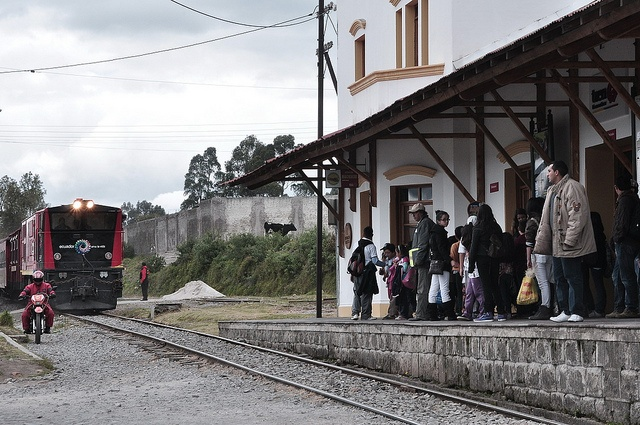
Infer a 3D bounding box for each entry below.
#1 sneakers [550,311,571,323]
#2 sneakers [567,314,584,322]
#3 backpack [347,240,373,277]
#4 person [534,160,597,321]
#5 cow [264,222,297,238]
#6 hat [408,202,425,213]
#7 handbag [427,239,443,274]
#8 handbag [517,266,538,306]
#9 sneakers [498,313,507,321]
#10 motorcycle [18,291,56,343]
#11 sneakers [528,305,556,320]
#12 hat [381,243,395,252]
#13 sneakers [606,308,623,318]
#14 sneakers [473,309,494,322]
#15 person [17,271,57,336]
[{"bbox_3d":[3.904,1.708,11.483,0.317,0.153,0.120,0,-4,-10],"label":"sneakers"},{"bbox_3d":[4.050,1.665,11.186,0.215,0.111,0.208,-4,-9,19],"label":"sneakers"},{"bbox_3d":[0.921,1.101,17.055,0.427,0.847,0.549,6,2,-25],"label":"backpack"},{"bbox_3d":[4.101,0.480,11.664,0.875,2.618,1.001,2,-7,-17],"label":"person"},{"bbox_3d":[-3.084,1.255,55.320,2.496,1.179,2.557,2,-9,-18],"label":"cow"},{"bbox_3d":[2.042,-0.095,14.880,0.357,0.217,0.267,4,-5,-3],"label":"hat"},{"bbox_3d":[2.376,1.014,14.503,0.313,0.462,0.164,-3,-3,25],"label":"handbag"},{"bbox_3d":[3.846,1.350,13.072,0.348,0.682,0.312,4,3,-26],"label":"handbag"},{"bbox_3d":[3.390,1.939,13.120,0.103,0.094,0.178,2,2,5],"label":"sneakers"},{"bbox_3d":[-8.398,3.121,20.883,0.610,1.471,1.459,3,-9,-23],"label":"motorcycle"},{"bbox_3d":[4.040,1.808,12.809,0.567,0.295,0.203,2,-2,2],"label":"sneakers"},{"bbox_3d":[1.725,0.869,17.601,0.273,0.157,0.184,11,-5,-18],"label":"hat"},{"bbox_3d":[5.074,1.748,12.138,0.276,0.119,0.099,2,-4,0],"label":"sneakers"},{"bbox_3d":[3.081,1.934,13.152,0.471,0.230,0.165,2,-6,15],"label":"sneakers"},{"bbox_3d":[-8.566,2.663,21.033,0.739,1.101,1.933,16,3,-35],"label":"person"}]
